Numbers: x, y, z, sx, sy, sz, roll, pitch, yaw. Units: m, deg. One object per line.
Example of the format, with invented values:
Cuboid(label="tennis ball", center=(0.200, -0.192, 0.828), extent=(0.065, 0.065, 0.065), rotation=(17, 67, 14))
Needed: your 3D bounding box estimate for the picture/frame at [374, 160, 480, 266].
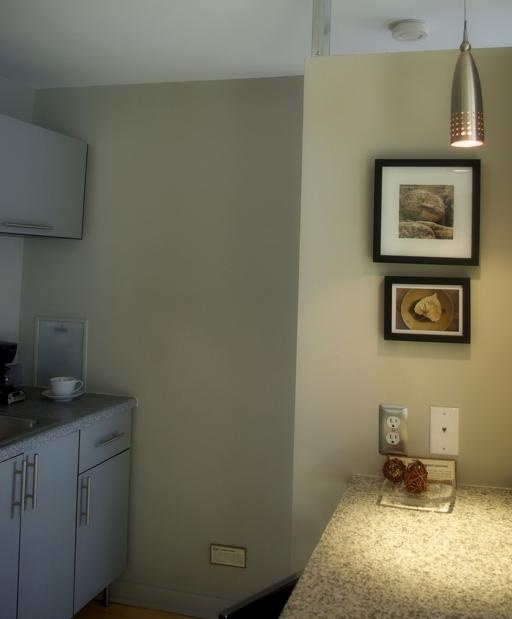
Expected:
Cuboid(label="picture/frame", center=(0.511, -0.283, 1.591), extent=(0.254, 0.310, 0.019), rotation=(1, 2, 15))

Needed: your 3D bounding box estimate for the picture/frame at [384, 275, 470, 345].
Cuboid(label="picture/frame", center=(0.510, -0.003, 1.600), extent=(0.165, 0.168, 0.014), rotation=(1, 4, 16))

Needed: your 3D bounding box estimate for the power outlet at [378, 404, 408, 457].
Cuboid(label="power outlet", center=(0.409, 0.362, 1.632), extent=(0.072, 0.135, 0.039), rotation=(3, 3, 4))

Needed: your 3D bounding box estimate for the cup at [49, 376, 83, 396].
Cuboid(label="cup", center=(-0.804, 0.319, 2.294), extent=(0.121, 0.064, 0.157), rotation=(3, 4, -9))

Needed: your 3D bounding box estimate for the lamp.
Cuboid(label="lamp", center=(0.456, -0.473, 1.167), extent=(0.068, 0.254, 0.117), rotation=(4, 3, 26))
